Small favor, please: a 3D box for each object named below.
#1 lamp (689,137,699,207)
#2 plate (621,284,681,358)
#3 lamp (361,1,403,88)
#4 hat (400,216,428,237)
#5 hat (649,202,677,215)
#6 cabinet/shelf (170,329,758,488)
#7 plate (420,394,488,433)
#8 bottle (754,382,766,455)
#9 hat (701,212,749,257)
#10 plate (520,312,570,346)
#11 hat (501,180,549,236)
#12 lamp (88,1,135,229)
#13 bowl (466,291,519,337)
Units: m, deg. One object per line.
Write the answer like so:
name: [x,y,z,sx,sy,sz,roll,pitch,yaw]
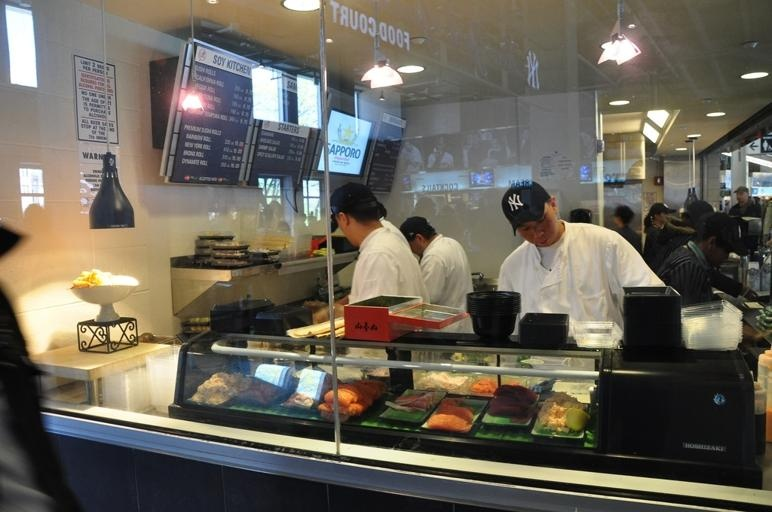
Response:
lamp: [1.265,-0.355,2.330,0.033,0.252,0.062,-2,5,31]
plate: [0.929,0.232,1.981,0.188,0.215,0.155,-2,5,24]
lamp: [-0.011,-0.850,2.429,0.211,0.229,0.221,0,18,4]
hat: [0.129,-0.138,2.640,0.117,0.067,0.080,6,14,26]
hat: [1.141,-0.197,2.344,0.081,0.042,0.052,4,8,25]
cabinet/shelf: [0.235,0.538,2.092,2.038,0.472,0.186,-3,5,15]
plate: [0.254,0.576,2.063,0.161,0.149,0.027,5,-22,33]
bottle: [1.255,0.543,1.895,0.025,0.236,0.095,-1,6,38]
hat: [1.354,-0.092,2.330,0.196,0.110,0.134,25,22,20]
plate: [0.579,0.277,2.072,0.112,0.059,0.157,1,6,14]
hat: [0.615,-0.217,2.454,0.219,0.223,0.056,-5,5,-6]
lamp: [-1.504,-0.740,2.974,0.234,1.206,0.127,-6,5,-18]
bowl: [0.413,0.221,2.218,0.177,0.131,0.177,-2,4,0]
